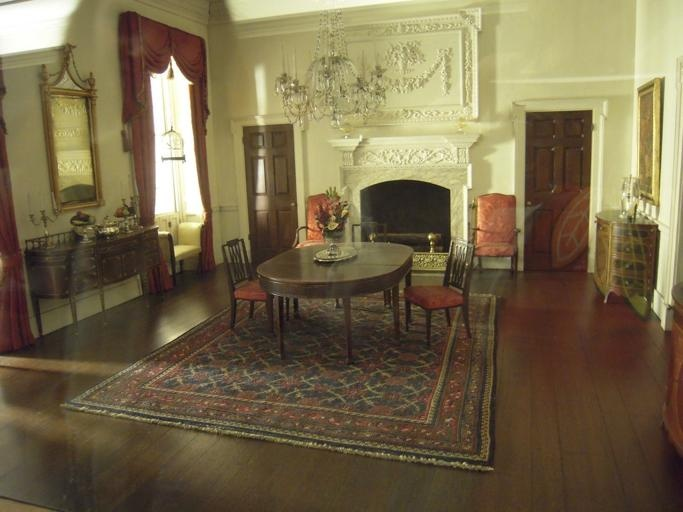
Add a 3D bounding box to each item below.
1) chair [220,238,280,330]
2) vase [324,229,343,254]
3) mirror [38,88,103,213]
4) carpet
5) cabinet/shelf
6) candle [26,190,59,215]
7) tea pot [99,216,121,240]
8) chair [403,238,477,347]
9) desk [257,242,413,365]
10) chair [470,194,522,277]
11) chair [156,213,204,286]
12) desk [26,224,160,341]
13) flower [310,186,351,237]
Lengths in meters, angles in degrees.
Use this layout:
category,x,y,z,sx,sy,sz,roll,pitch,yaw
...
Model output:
category,x,y,z,sx,sy,sz,roll,pitch,yaw
chair,-0.977,0.316,6.047,0.604,0.997,0.580,-2,7,14
vase,-0.089,-0.148,5.561,0.207,0.330,0.241,0,0,-1
mirror,-3.263,-1.289,6.364,0.103,1.412,0.770,3,13,23
carpet,-0.201,1.102,5.900,3.629,0.069,5.064,3,5,9
cabinet/shelf,3.365,0.022,6.141,0.410,0.886,1.006,3,12,22
candle,-3.441,-0.612,5.971,0.067,0.216,0.291,0,6,21
tea pot,-2.912,-0.355,6.552,0.307,0.213,0.305,1,5,0
chair,1.013,0.355,5.559,0.811,0.969,0.784,3,10,24
desk,-0.333,0.399,5.909,1.309,0.797,1.949,-1,11,-6
chair,2.300,-0.302,7.952,0.673,1.110,0.721,-6,-20,23
chair,-2.584,-0.098,8.224,0.468,0.800,0.827,8,16,23
desk,-2.945,0.178,6.610,0.559,1.100,1.737,6,15,21
flower,-0.135,-0.468,5.552,0.362,0.521,0.338,8,-6,-14
